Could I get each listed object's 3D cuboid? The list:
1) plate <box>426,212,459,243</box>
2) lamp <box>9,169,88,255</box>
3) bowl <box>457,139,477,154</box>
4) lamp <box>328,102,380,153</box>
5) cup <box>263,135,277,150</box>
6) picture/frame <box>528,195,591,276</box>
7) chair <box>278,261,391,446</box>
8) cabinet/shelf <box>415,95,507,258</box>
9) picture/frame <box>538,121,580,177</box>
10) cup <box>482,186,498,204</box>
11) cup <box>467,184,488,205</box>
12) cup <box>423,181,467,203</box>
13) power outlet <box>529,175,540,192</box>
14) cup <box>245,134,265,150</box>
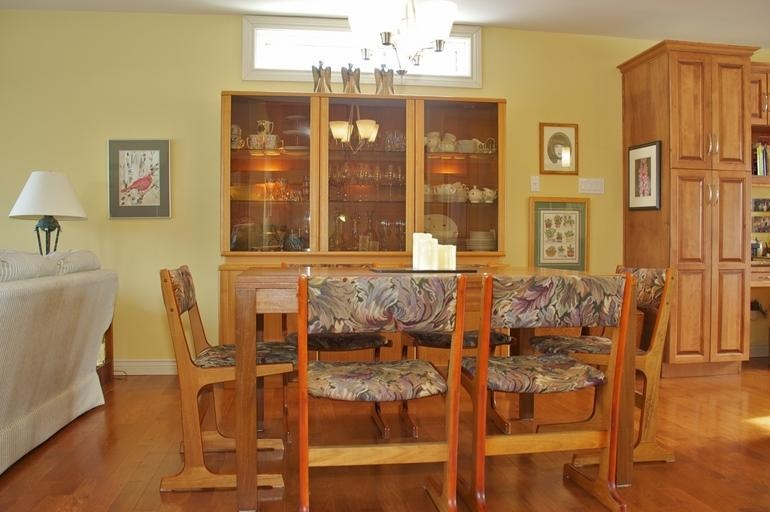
[{"bbox_3d":[0.494,-0.243,5.150,0.304,0.245,0.066,1,1,-6],"label":"plate"},{"bbox_3d":[-2.714,-0.356,4.865,0.516,0.649,0.567,-4,5,-23],"label":"lamp"},{"bbox_3d":[0.711,-0.950,5.196,0.217,0.125,0.109,0,-1,-6],"label":"bowl"},{"bbox_3d":[-0.274,-1.102,5.124,0.371,0.378,0.342,-3,7,-27],"label":"lamp"},{"bbox_3d":[-0.969,-0.956,5.020,0.144,0.117,0.074,1,2,-10],"label":"cup"},{"bbox_3d":[1.563,-0.186,5.472,0.853,0.949,0.038,1,0,-8],"label":"picture/frame"},{"bbox_3d":[-0.317,0.561,4.121,0.841,1.062,0.934,6,20,-5],"label":"chair"},{"bbox_3d":[0.720,-0.632,5.374,0.857,1.424,0.398,7,16,33],"label":"cabinet/shelf"},{"bbox_3d":[1.612,-1.013,5.641,0.615,0.632,0.048,1,-1,-14],"label":"picture/frame"},{"bbox_3d":[0.902,-0.524,5.188,0.160,0.128,0.103,2,-4,10],"label":"cup"},{"bbox_3d":[0.791,-0.526,5.195,0.150,0.118,0.151,0,8,0],"label":"cup"},{"bbox_3d":[0.533,-0.543,5.158,0.275,0.112,0.200,-1,-2,13],"label":"cup"},{"bbox_3d":[1.409,-0.684,5.631,0.112,0.149,0.025,-4,5,-18],"label":"power outlet"},{"bbox_3d":[-1.076,-0.950,5.004,0.234,0.146,0.111,1,13,-7],"label":"cup"}]
